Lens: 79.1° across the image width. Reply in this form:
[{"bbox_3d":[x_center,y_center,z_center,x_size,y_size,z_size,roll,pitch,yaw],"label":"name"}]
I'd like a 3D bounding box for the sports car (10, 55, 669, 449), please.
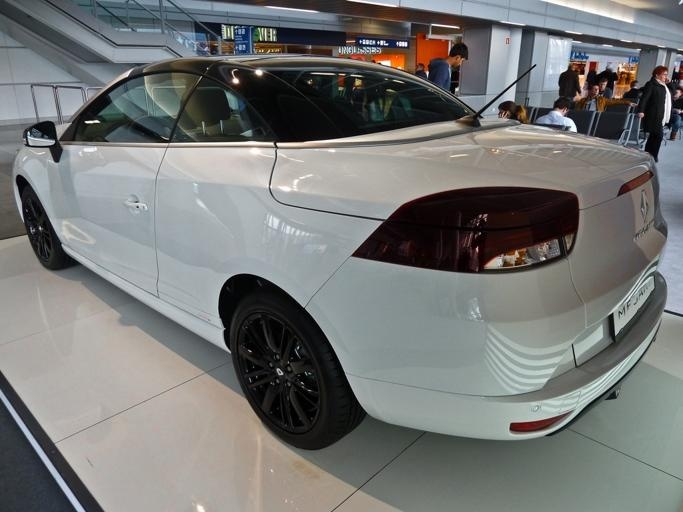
[{"bbox_3d":[-0.380,-0.115,2.304,3.181,1.132,1.607,23,28,37],"label":"sports car"}]
